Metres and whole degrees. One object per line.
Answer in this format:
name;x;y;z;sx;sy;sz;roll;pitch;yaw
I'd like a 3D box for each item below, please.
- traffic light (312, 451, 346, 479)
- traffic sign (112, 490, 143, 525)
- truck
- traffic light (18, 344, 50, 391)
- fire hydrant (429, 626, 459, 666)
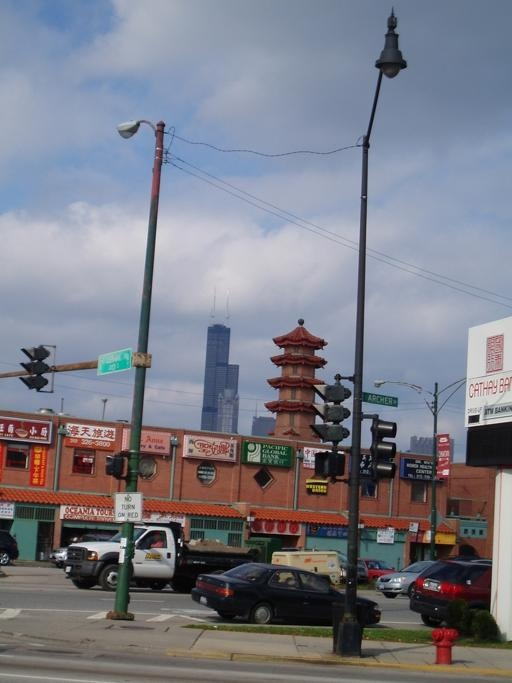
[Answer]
traffic light;1.368;2.170;15.718;0.587;0.616;0.488;6;-9;-34
traffic sign;-2.591;3.418;18.407;0.439;0.660;1.014;9;-11;-33
truck;-2.519;6.681;27.620;6.757;2.115;2.603;9;-15;-33
traffic light;-5.199;0.630;21.194;0.669;1.106;0.797;5;-9;-9
fire hydrant;3.198;5.177;15.238;0.362;0.606;0.876;1;-9;13
